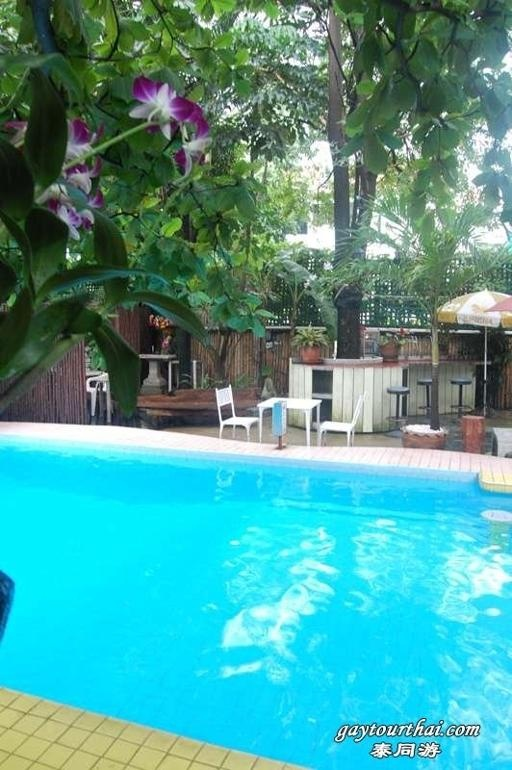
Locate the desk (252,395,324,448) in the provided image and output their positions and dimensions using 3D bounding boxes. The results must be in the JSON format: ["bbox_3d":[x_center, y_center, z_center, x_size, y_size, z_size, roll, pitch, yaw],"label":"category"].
[{"bbox_3d":[0.577,0.422,8.420,0.779,0.702,0.814,2,6,19],"label":"desk"}]

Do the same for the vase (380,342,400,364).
[{"bbox_3d":[2.677,-0.679,10.912,0.402,0.523,0.430,-3,6,-17],"label":"vase"}]

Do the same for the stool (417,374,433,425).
[{"bbox_3d":[3.345,0.237,11.079,0.246,0.877,1.236,1,8,16],"label":"stool"}]

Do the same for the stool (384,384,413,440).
[{"bbox_3d":[2.522,0.372,9.955,0.356,0.847,1.365,1,8,15],"label":"stool"}]

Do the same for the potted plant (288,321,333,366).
[{"bbox_3d":[1.002,-0.749,10.299,0.753,0.869,0.820,0,5,-1],"label":"potted plant"}]

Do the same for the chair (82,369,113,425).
[{"bbox_3d":[-3.216,0.188,11.284,0.497,1.011,1.908,-3,8,-15],"label":"chair"}]
